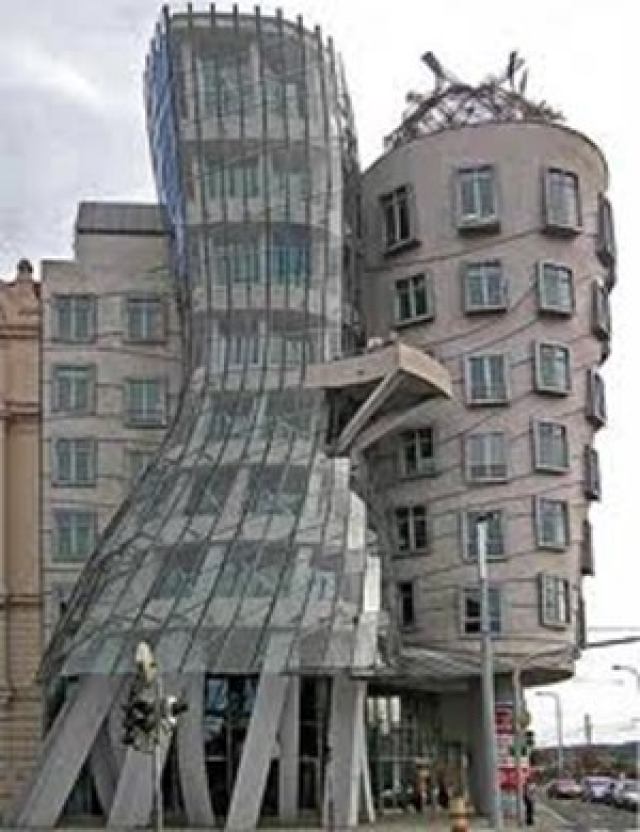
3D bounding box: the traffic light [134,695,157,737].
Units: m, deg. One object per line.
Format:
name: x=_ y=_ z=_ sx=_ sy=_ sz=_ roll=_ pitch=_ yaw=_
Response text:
traffic light: x=-2.447 y=4.195 z=16.794 sx=0.397 sy=0.457 sz=0.499 roll=4 pitch=-2 yaw=1
